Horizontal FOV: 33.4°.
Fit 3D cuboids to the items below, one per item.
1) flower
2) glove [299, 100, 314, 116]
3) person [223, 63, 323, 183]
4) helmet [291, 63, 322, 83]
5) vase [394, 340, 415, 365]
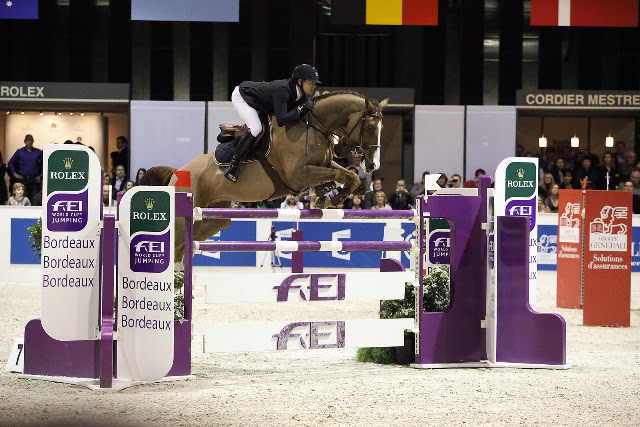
[{"bbox_3d":[1.455,1.204,16.242,1.009,0.805,0.550,1,2,4],"label":"flower"},{"bbox_3d":[-0.232,-1.664,16.419,0.251,0.189,0.076,-41,-19,-6],"label":"glove"},{"bbox_3d":[-0.770,-1.409,16.519,1.414,1.811,0.450,1,2,18],"label":"person"},{"bbox_3d":[-0.215,-2.165,16.372,0.421,0.247,0.328,1,5,12],"label":"helmet"},{"bbox_3d":[1.272,2.084,16.114,0.275,0.392,0.099,1,2,-5],"label":"vase"}]
